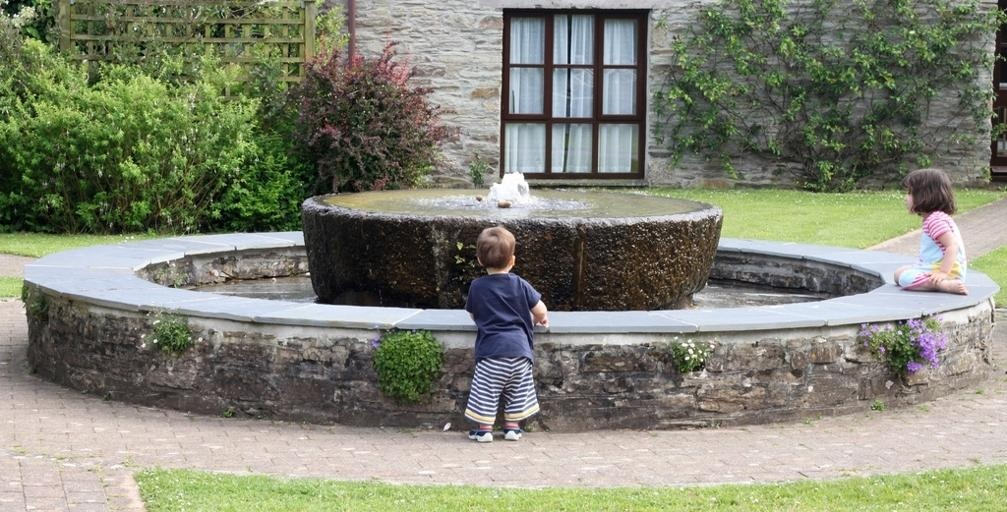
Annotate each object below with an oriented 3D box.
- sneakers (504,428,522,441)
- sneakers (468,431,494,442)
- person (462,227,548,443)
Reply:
[{"bbox_3d":[0.104,1.843,10.931,0.206,0.124,0.113,-2,7,-14],"label":"sneakers"},{"bbox_3d":[-0.236,1.853,10.894,0.111,0.104,0.251,-3,7,-37],"label":"sneakers"},{"bbox_3d":[0.003,0.812,10.959,0.829,2.174,0.488,0,7,1],"label":"person"}]
